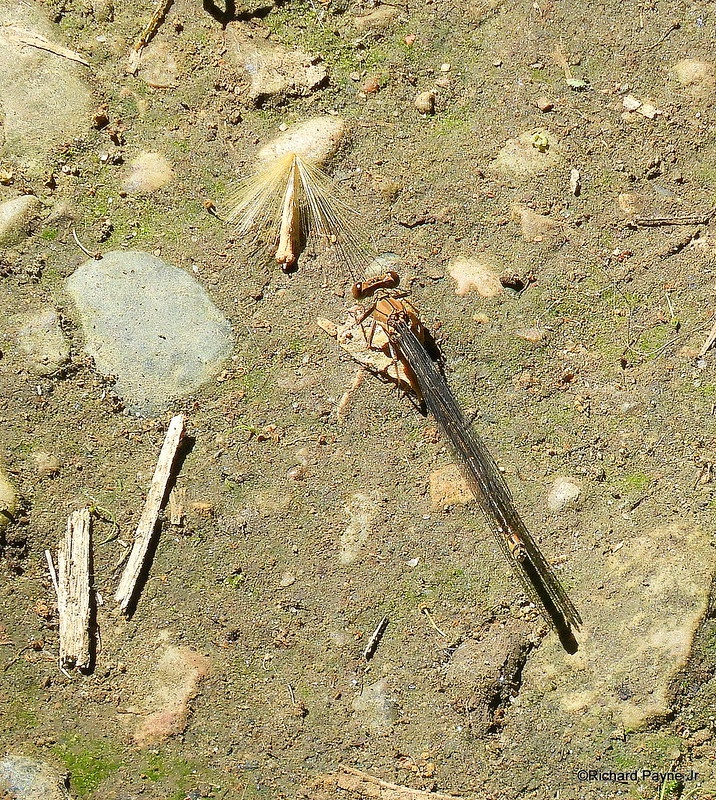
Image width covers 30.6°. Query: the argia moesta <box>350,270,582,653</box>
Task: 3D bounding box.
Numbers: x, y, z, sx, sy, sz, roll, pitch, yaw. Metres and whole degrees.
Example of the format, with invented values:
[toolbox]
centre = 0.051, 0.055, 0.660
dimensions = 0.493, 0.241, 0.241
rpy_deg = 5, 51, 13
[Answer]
[argia moesta]
centre = 0.868, 0.635, 10.796
dimensions = 0.473, 0.495, 3.100
rpy_deg = -10, 69, -35
